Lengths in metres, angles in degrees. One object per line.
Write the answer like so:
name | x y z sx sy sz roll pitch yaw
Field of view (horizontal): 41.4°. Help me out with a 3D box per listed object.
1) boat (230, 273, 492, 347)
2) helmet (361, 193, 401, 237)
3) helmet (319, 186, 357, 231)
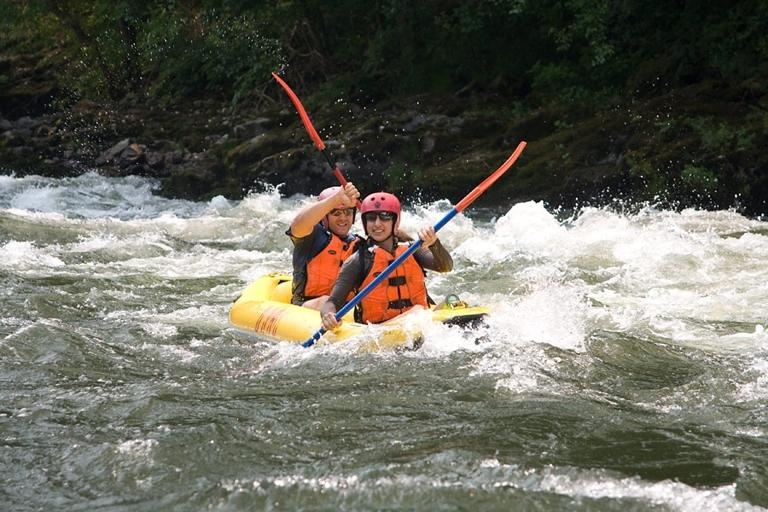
boat | -0.751 0.880 13.618 2.700 1.316 0.491 4 98 33
helmet | -0.022 -0.573 13.594 0.445 0.564 0.488 -1 78 9
helmet | -0.634 -0.741 14.190 0.503 0.601 0.546 1 32 -15
